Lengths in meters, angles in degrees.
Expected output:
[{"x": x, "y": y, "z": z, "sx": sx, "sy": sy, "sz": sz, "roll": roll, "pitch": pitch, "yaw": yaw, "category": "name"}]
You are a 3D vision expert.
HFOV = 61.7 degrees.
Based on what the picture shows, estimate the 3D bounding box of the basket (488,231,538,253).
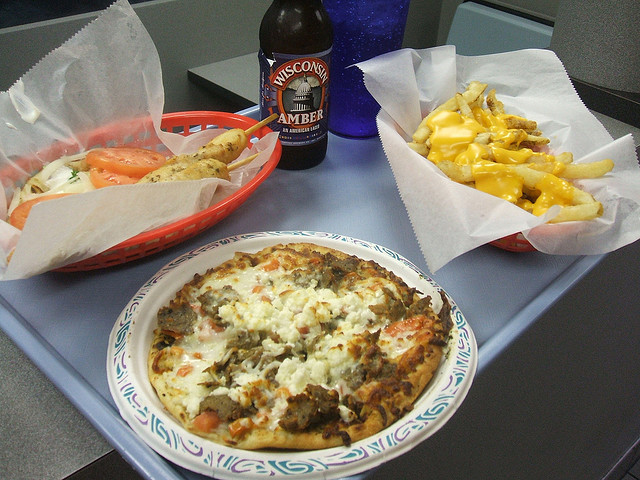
[{"x": 0.374, "y": 0.009, "z": 1.035, "sx": 0.064, "sy": 0.027, "sz": 0.049, "roll": -9, "pitch": 36, "yaw": -7, "category": "basket"}]

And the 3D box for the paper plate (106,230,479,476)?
[{"x": -0.038, "y": 0.142, "z": 0.823, "sx": 0.551, "sy": 0.066, "sz": 0.443, "roll": 7, "pitch": 53, "yaw": 6, "category": "paper plate"}]

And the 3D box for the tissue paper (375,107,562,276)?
[{"x": 0.239, "y": -0.098, "z": 1.062, "sx": 0.232, "sy": 0.095, "sz": 0.313, "roll": -23, "pitch": 49, "yaw": 5, "category": "tissue paper"}]
